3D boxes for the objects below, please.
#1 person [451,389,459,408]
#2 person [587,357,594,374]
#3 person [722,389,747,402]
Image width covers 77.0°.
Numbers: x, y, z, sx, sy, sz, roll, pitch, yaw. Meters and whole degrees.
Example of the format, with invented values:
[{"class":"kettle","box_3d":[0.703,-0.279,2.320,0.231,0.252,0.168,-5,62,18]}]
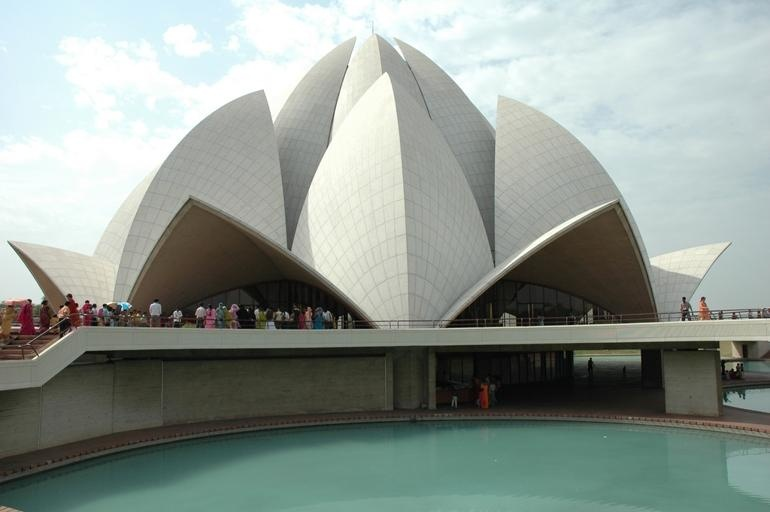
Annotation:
[{"class":"person","box_3d":[3.725,7.636,25.814,0.575,0.847,0.598,-1,0,-9]},{"class":"person","box_3d":[15.475,8.313,36.428,0.259,1.162,1.370,-1,-3,31]},{"class":"person","box_3d":[20.133,8.056,27.969,1.383,0.549,1.379,13,-16,-40]}]
